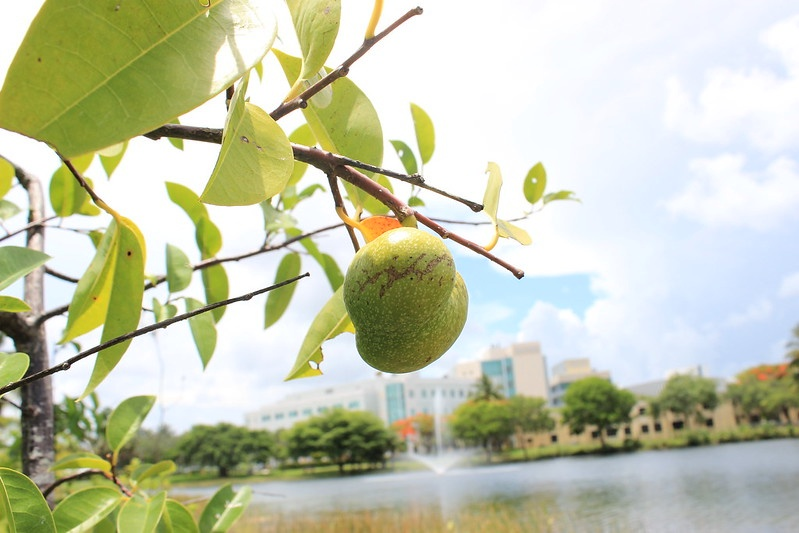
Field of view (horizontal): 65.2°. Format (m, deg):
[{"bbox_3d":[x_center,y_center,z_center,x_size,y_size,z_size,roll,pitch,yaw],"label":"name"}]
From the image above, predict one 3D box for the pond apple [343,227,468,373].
[{"bbox_3d":[0.007,0.071,1.501,0.233,0.251,0.177,-24,20,-12],"label":"pond apple"}]
